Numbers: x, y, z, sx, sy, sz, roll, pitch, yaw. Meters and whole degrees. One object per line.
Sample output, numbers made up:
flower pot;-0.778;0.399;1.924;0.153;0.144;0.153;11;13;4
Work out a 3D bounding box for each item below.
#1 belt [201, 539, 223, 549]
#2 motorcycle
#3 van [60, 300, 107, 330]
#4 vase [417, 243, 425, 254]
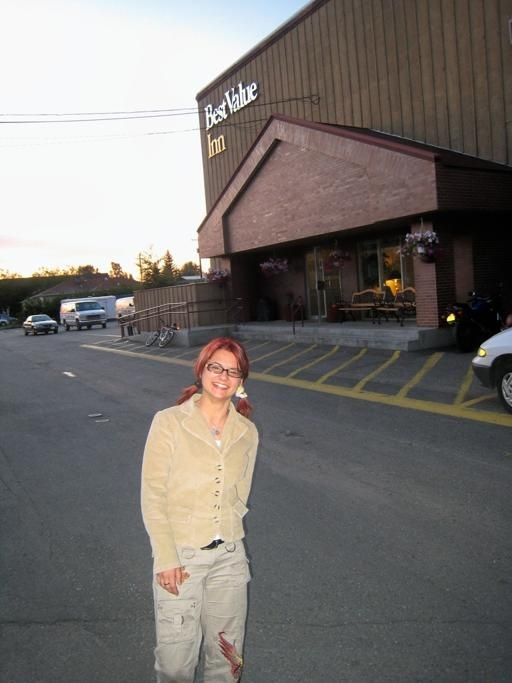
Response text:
belt;-0.163;0.779;1.980;0.049;0.017;0.037;-4;-1;7
motorcycle;5.634;-0.549;13.111;2.317;1.337;0.870;-25;5;-43
van;-13.973;-2.244;41.339;2.300;1.909;4.105;-2;0;-31
vase;4.655;-2.624;14.460;0.249;0.290;0.104;0;5;44
